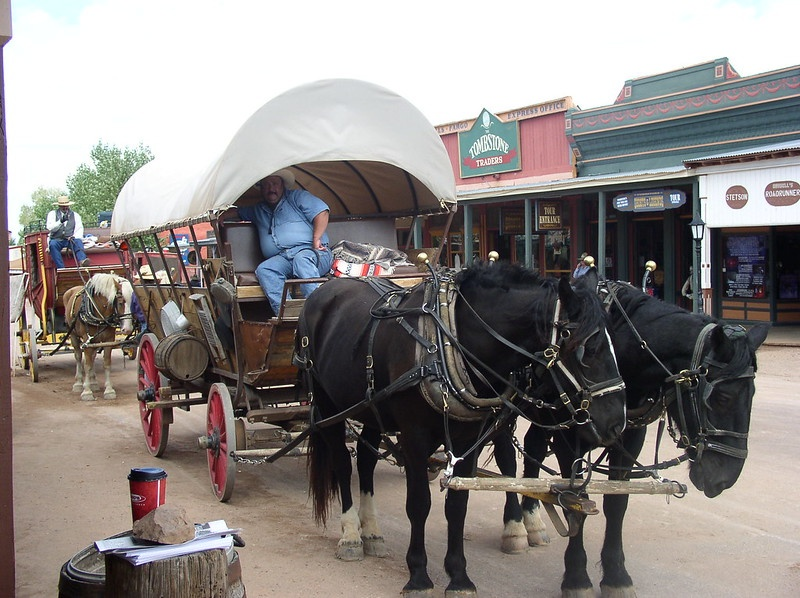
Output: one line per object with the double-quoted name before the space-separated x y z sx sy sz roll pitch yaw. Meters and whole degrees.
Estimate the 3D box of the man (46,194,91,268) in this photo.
"man" -6.815 -1.295 14.097 0.695 1.675 1.552 -2 7 -40

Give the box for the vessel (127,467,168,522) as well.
"vessel" -1.358 1.074 3.710 0.178 0.301 0.282 -2 5 -22

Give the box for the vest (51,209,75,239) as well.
"vest" -6.913 -1.523 14.037 0.558 0.774 0.391 0 3 -41

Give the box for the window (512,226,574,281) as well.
"window" 4.441 -1.466 21.381 2.989 2.282 0.190 -4 3 -39

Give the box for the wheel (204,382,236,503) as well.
"wheel" -1.782 1.408 6.825 0.318 1.154 1.079 -1 0 -25

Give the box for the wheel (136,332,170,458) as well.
"wheel" -2.924 1.143 8.152 0.264 1.009 1.021 -1 37 -18
